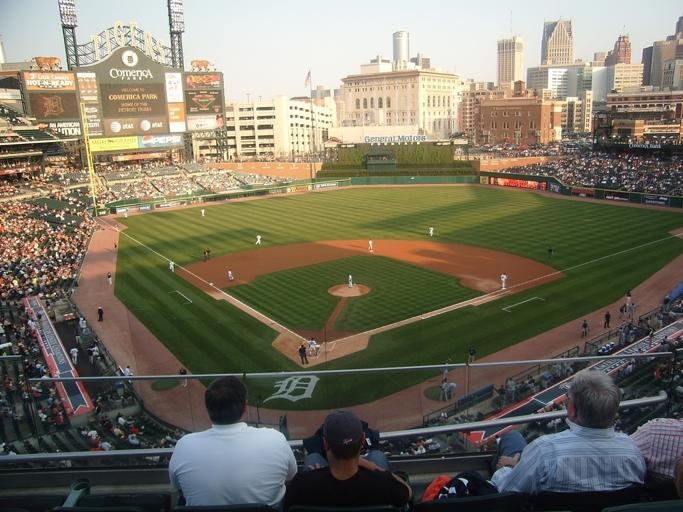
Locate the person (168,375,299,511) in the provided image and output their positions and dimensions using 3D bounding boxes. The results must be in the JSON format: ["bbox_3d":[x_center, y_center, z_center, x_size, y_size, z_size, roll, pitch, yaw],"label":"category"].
[{"bbox_3d":[-1.012,1.736,5.320,1.337,1.659,0.962,4,37,-2],"label":"person"}]

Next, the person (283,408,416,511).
[{"bbox_3d":[0.041,1.734,4.958,0.721,0.459,1.117,-2,-6,2],"label":"person"}]
